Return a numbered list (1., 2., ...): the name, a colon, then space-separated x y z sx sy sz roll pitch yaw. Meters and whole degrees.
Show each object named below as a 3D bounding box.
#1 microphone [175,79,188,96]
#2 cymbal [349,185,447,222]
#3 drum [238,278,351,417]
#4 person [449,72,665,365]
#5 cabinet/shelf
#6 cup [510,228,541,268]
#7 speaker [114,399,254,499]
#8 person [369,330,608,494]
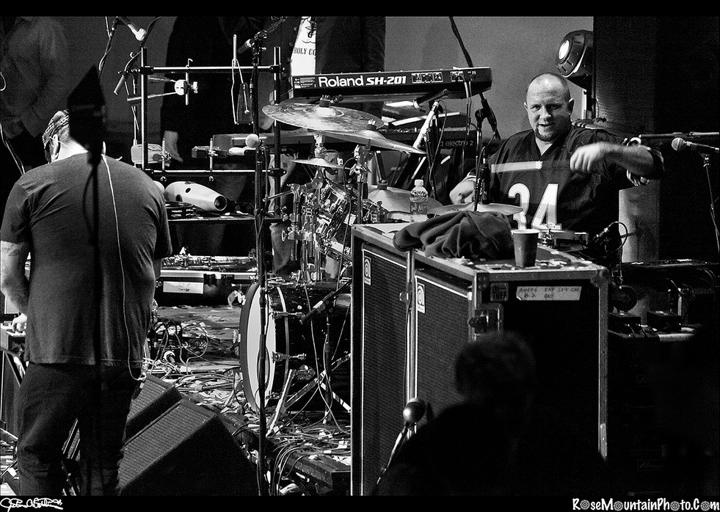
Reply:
1. microphone: -1.247 -1.182 7.627 0.074 0.097 0.113 3 -3 -14
2. cymbal: 0.230 -0.328 6.377 0.305 0.104 0.249 1 16 -20
3. drum: -0.395 0.446 6.840 0.682 0.983 0.990 0 -1 -11
4. person: 1.110 -0.528 6.691 1.205 0.999 0.651 6 11 23
5. cabinet/shelf: 0.467 0.464 5.380 0.653 1.399 1.467 -7 20 -21
6. cup: 0.717 -0.037 4.745 0.156 0.158 0.151 -2 4 0
7. speaker: -0.831 0.950 5.364 0.652 0.444 0.782 3 -3 -11
8. person: 0.589 0.696 4.762 0.961 0.722 0.372 2 -3 10
